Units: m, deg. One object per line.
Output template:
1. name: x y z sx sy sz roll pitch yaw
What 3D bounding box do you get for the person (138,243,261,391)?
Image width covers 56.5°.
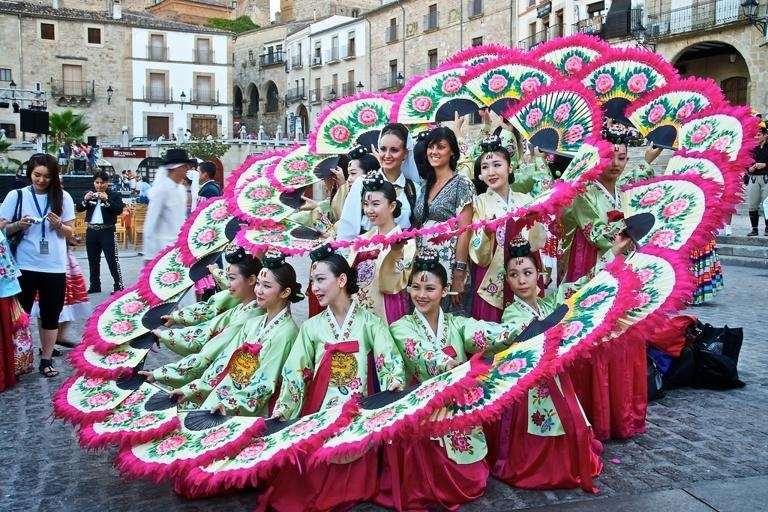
1. person: -1.369 0.568 5.635 1.103 0.428 0.938 -24 30 -22

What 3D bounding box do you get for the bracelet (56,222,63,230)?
1. bracelet: -3.225 -0.291 7.105 0.054 0.055 0.014 -8 48 -7

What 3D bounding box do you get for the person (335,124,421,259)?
1. person: 0.062 -0.342 5.896 0.809 1.269 0.308 -2 -21 2

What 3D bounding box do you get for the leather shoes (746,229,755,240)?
1. leather shoes: 7.272 -0.431 14.135 0.398 0.153 0.134 -8 4 -45

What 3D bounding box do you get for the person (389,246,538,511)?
1. person: 0.407 0.852 5.076 0.850 1.658 0.997 5 13 27

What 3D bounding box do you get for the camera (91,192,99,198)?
1. camera: -4.474 -0.943 11.104 0.080 0.089 0.095 -5 12 -21

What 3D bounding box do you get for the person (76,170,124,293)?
1. person: -4.452 -0.347 11.350 0.627 1.938 1.473 -7 13 -28

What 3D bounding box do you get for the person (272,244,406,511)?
1. person: -0.379 0.822 5.077 1.011 1.718 0.844 -5 12 -21

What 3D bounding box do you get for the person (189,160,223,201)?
1. person: -2.581 -1.060 10.523 0.352 0.623 0.748 1 0 -8

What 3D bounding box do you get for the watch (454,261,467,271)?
1. watch: 0.613 0.081 5.764 0.089 0.058 0.088 11 0 10

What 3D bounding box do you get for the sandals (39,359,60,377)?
1. sandals: -3.417 1.134 7.286 0.117 0.129 0.301 1 -4 -33
